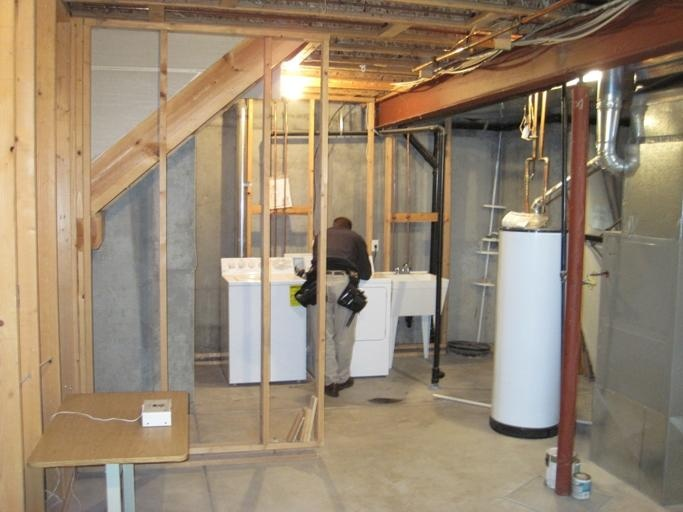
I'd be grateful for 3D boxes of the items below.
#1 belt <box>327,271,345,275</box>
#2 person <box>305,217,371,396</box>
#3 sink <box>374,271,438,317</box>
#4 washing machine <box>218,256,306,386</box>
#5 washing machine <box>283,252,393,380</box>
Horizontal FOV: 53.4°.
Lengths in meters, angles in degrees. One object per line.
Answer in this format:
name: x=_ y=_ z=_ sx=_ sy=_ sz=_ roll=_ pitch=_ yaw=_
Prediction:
belt: x=-0.051 y=0.168 z=6.567 sx=0.175 sy=0.052 sz=0.028 roll=-1 pitch=11 yaw=-12
person: x=0.058 y=0.537 z=6.628 sx=0.425 sy=1.572 sz=0.486 roll=1 pitch=11 yaw=-1
sink: x=0.783 y=0.433 z=7.451 sx=0.545 sy=0.355 sz=0.552 roll=-1 pitch=6 yaw=-7
washing machine: x=-0.799 y=0.642 z=7.171 sx=1.098 sy=1.674 sz=1.140 roll=0 pitch=2 yaw=-13
washing machine: x=-0.322 y=0.632 z=7.429 sx=1.205 sy=1.653 sz=1.124 roll=0 pitch=-2 yaw=-8
